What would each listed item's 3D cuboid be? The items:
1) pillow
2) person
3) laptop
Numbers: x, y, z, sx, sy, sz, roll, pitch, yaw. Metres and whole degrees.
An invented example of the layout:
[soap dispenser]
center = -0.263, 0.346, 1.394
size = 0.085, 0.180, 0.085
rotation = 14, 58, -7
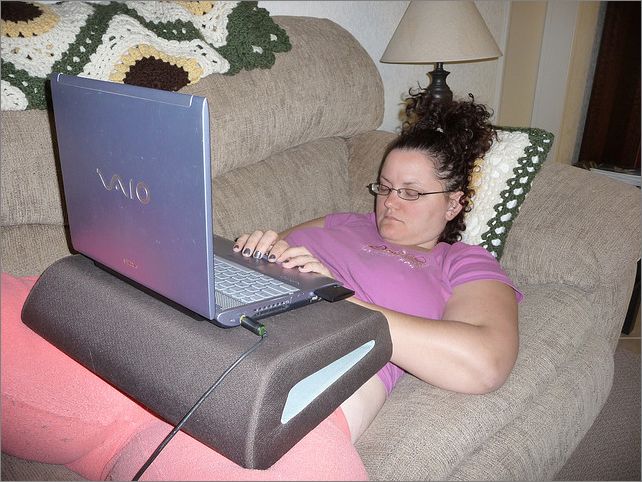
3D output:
[pillow]
center = 0.671, -0.124, 1.723
size = 0.071, 0.425, 0.310
rotation = 19, 17, -30
[person]
center = 0.369, -0.035, 1.488
size = 0.636, 0.531, 0.997
rotation = 27, 29, 32
[laptop]
center = -0.232, -0.105, 1.038
size = 0.579, 0.400, 0.309
rotation = 20, 24, 31
